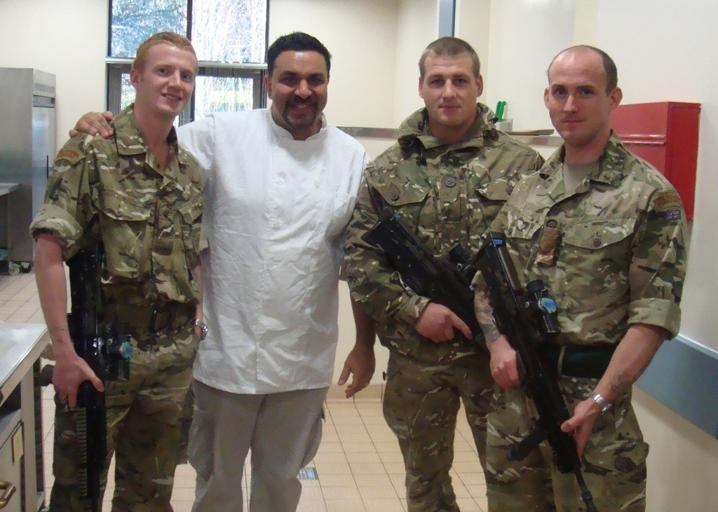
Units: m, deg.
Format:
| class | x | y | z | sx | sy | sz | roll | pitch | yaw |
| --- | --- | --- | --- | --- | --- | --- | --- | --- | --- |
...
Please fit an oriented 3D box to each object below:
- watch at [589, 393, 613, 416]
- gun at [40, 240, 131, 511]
| class | x | y | z | sx | sy | sz | roll | pitch | yaw |
| --- | --- | --- | --- | --- | --- | --- | --- | --- | --- |
| watch | 0.740 | 0.455 | 1.809 | 0.042 | 0.060 | 0.063 | -25 | -10 | -8 |
| gun | -0.956 | 0.415 | 2.192 | 0.461 | 0.936 | 0.189 | 4 | 0 | -7 |
